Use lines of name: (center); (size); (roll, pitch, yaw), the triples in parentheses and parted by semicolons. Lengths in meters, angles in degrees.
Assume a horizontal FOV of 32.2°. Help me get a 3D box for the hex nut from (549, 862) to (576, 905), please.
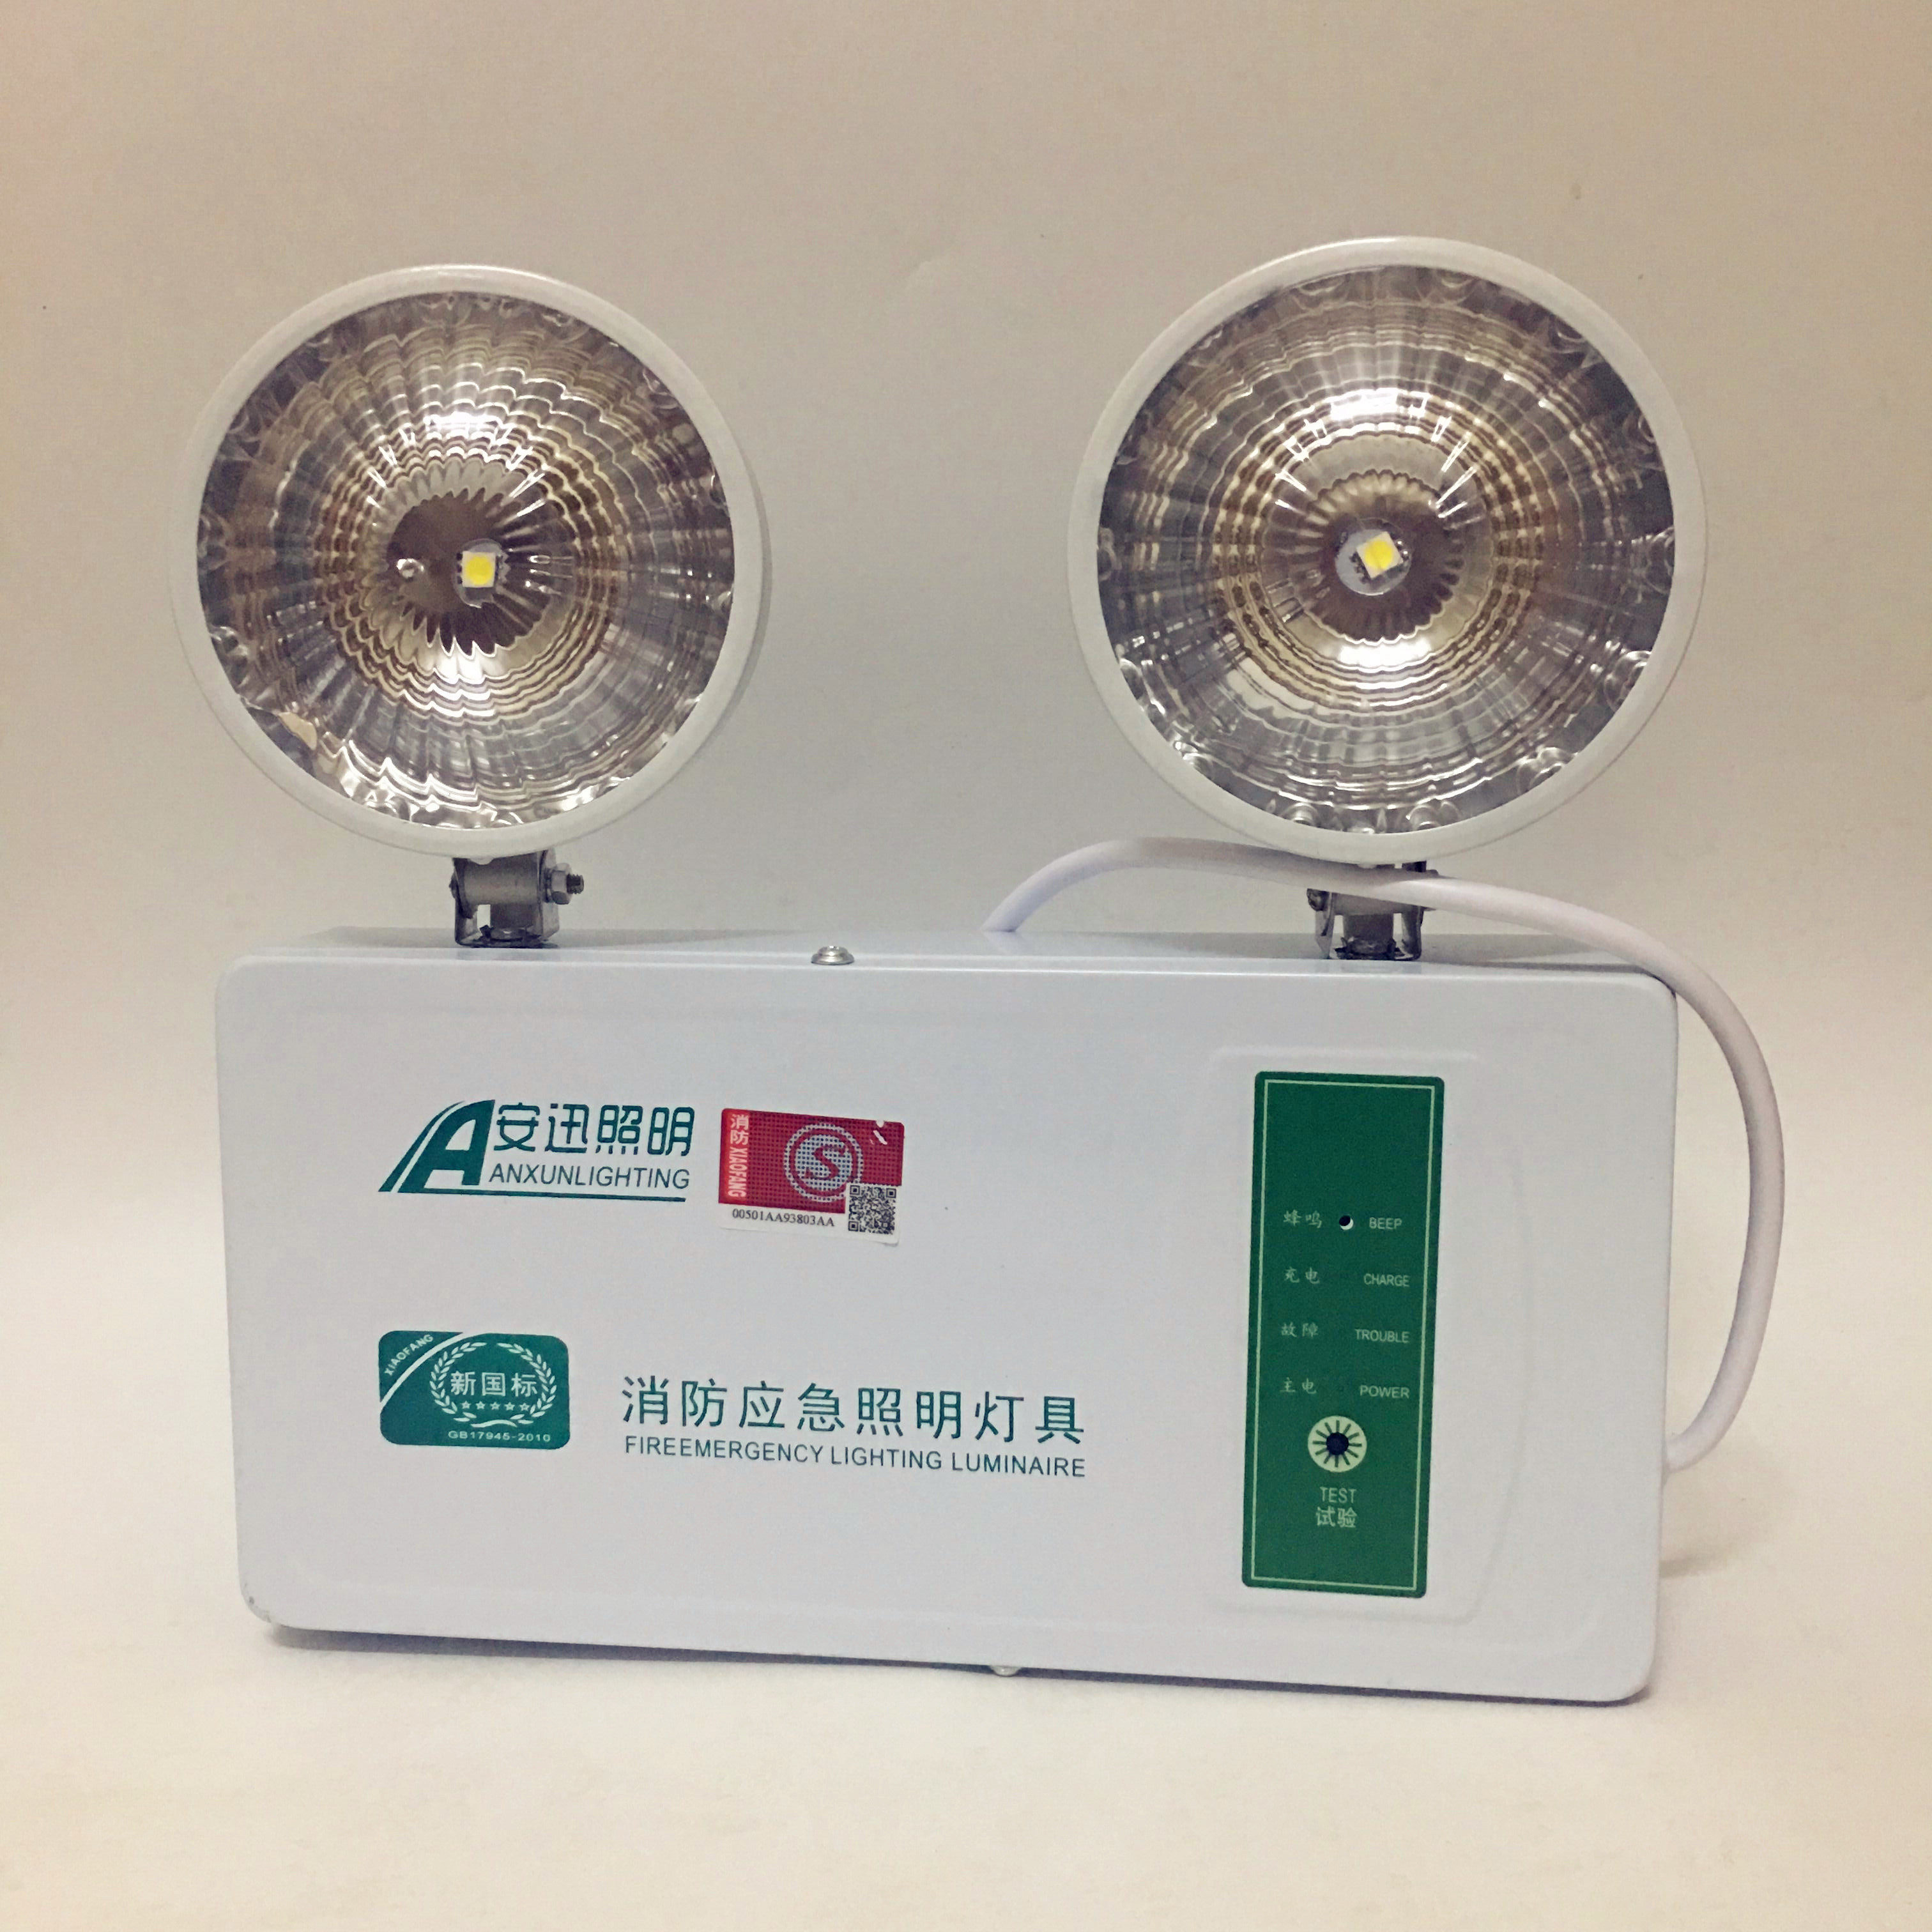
hex nut: (-0.217, -0.044, 1.838); (0.019, 0.017, 0.019); (3, -17, 3)

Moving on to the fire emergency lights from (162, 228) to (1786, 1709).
fire emergency lights: (0.001, 0.048, 1.762); (0.862, 0.216, 0.700); (0, -80, 4)
